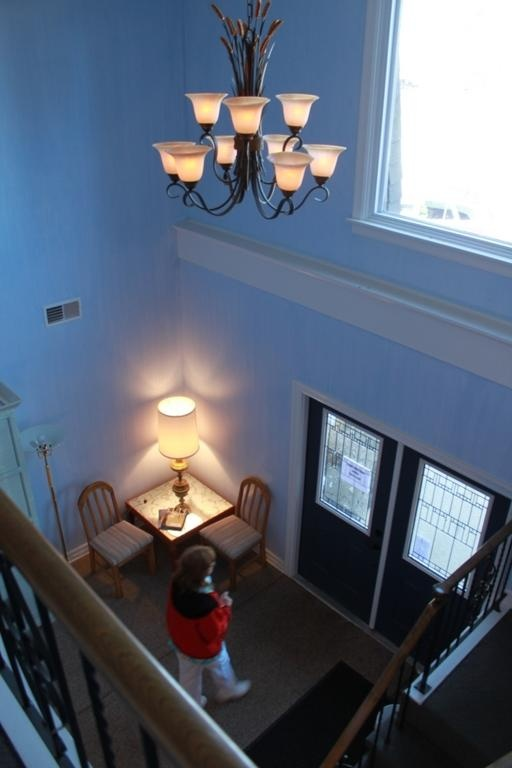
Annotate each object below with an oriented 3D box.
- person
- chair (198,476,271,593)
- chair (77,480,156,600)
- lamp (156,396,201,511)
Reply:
[{"bbox_3d":[-0.329,1.804,3.858,0.522,1.500,0.484,-8,27,-12],"label":"person"},{"bbox_3d":[-0.218,1.495,5.501,0.500,0.967,0.552,21,29,38],"label":"chair"},{"bbox_3d":[-1.414,1.559,5.448,0.587,1.006,0.579,11,25,24],"label":"chair"},{"bbox_3d":[-0.805,0.752,5.734,0.426,1.160,0.636,-3,28,-7],"label":"lamp"}]
